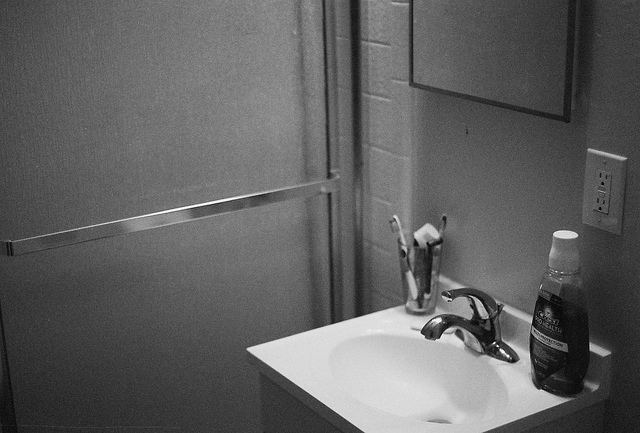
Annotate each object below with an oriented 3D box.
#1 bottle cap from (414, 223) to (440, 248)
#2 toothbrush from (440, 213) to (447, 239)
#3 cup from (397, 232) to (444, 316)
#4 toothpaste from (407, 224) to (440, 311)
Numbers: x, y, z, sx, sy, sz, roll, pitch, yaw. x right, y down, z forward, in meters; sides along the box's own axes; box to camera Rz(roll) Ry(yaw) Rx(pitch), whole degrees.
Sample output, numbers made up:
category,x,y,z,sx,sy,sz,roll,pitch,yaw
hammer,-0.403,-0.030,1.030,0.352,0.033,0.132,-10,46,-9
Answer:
category,x,y,z,sx,sy,sz,roll,pitch,yaw
bottle cap,0.317,0.063,1.711,0.059,0.069,0.069,-19,48,9
toothbrush,0.363,0.028,1.665,0.018,0.077,0.021,-2,7,1
cup,0.313,0.174,1.720,0.150,0.252,0.091,-3,8,-3
toothpaste,0.328,0.159,1.722,0.084,0.318,0.099,-8,18,5
